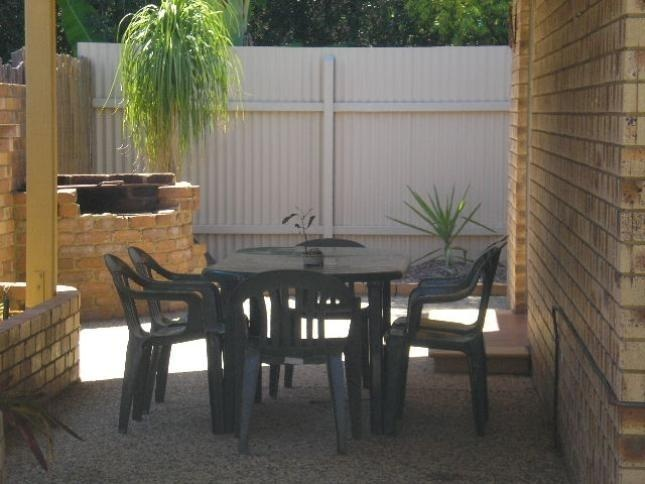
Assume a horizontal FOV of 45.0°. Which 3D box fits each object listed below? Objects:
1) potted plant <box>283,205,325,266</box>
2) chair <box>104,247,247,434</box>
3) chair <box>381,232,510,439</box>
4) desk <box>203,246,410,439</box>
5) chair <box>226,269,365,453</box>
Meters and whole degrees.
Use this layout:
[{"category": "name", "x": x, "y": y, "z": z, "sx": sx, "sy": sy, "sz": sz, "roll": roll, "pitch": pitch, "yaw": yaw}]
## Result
[{"category": "potted plant", "x": -0.156, "y": -0.062, "z": 5.417, "sx": 0.270, "sy": 0.455, "sz": 0.248, "roll": -9, "pitch": 20, "yaw": -18}, {"category": "chair", "x": -1.007, "y": 0.601, "z": 5.434, "sx": 0.926, "sy": 1.621, "sz": 0.918, "roll": 1, "pitch": 3, "yaw": 4}, {"category": "chair", "x": 0.777, "y": 0.569, "z": 4.975, "sx": 0.709, "sy": 1.099, "sz": 0.827, "roll": 2, "pitch": 11, "yaw": 10}, {"category": "desk", "x": -0.172, "y": 0.568, "z": 4.919, "sx": 0.881, "sy": 1.450, "sz": 1.009, "roll": 7, "pitch": 27, "yaw": 14}, {"category": "chair", "x": -0.132, "y": 0.647, "z": 4.948, "sx": 0.814, "sy": 1.445, "sz": 0.923, "roll": 1, "pitch": 6, "yaw": 1}]
